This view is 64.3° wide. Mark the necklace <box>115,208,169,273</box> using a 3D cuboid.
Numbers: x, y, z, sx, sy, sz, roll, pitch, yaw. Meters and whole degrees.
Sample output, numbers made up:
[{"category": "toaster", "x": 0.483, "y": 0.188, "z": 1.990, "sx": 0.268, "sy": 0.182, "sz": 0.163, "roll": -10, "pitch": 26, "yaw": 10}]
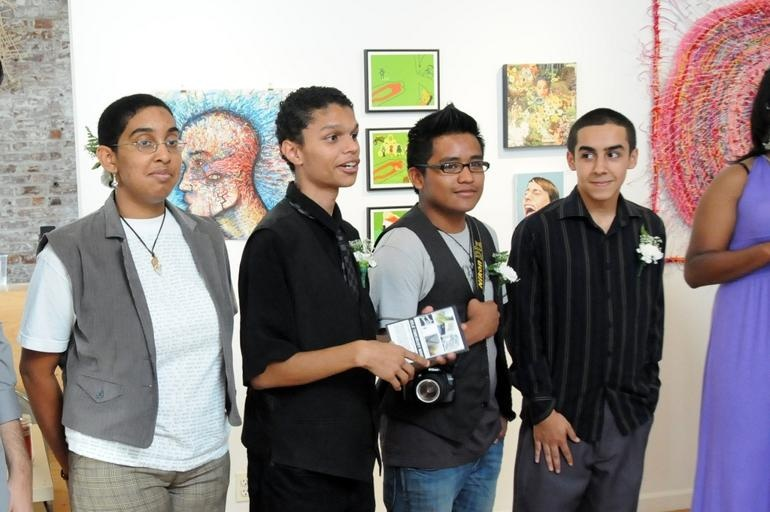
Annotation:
[{"category": "necklace", "x": -0.919, "y": -0.064, "z": 2.377, "sx": 0.098, "sy": 0.010, "sz": 0.307, "roll": -13, "pitch": 43, "yaw": -22}]

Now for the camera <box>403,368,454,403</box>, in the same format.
[{"category": "camera", "x": 0.176, "y": 0.516, "z": 2.426, "sx": 0.207, "sy": 0.128, "sz": 0.146, "roll": -6, "pitch": -6, "yaw": 25}]
